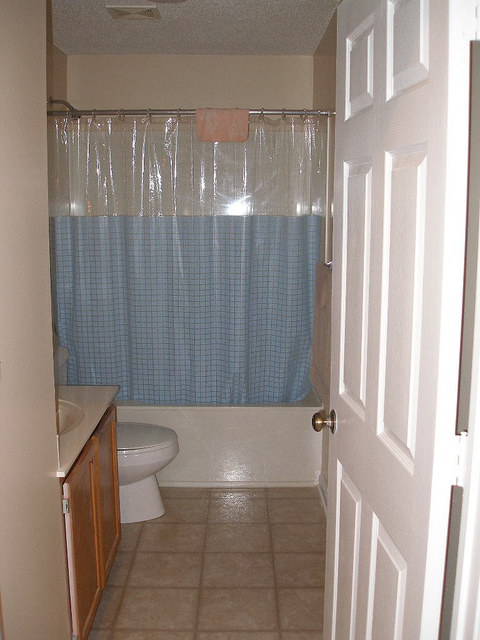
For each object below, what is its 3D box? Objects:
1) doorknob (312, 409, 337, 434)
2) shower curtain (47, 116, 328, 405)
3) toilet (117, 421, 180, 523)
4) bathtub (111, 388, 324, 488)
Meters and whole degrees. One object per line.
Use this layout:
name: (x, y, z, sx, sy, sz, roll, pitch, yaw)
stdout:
doorknob: (0.225, 0.249, 1.296, 0.036, 0.078, 0.068, 2, -8, -4)
shower curtain: (-0.285, -0.318, 2.832, 1.539, 1.652, 0.253, 0, 5, -4)
toilet: (-0.464, 0.761, 2.499, 0.241, 0.560, 0.308, 1, 9, -8)
bathtub: (0.019, 0.713, 2.892, 1.082, 0.677, 0.603, 2, 11, -8)
